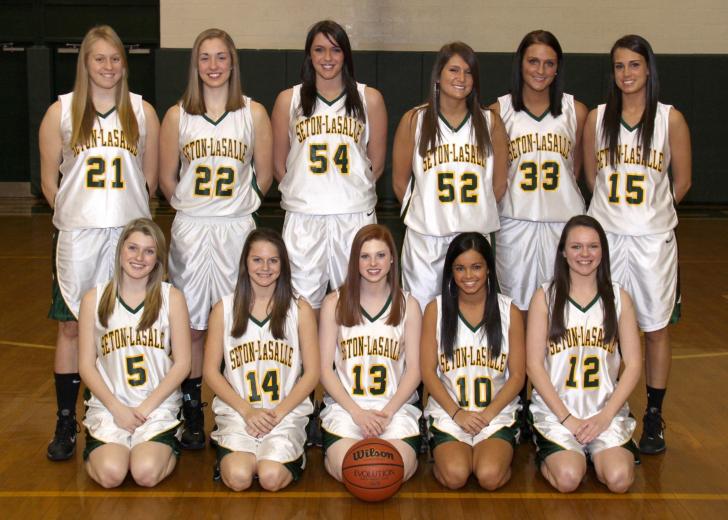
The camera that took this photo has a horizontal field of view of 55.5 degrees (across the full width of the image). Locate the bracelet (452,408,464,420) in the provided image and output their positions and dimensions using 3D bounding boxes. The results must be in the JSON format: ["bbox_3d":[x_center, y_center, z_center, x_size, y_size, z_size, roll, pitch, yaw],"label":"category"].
[{"bbox_3d":[0.518,0.852,3.826,0.016,0.064,0.046,41,2,-18],"label":"bracelet"}]

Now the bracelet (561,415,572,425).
[{"bbox_3d":[1.099,0.880,3.790,0.058,0.014,0.033,-46,23,-8],"label":"bracelet"}]

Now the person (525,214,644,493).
[{"bbox_3d":[1.209,0.498,3.779,0.628,1.321,0.783,4,19,10],"label":"person"}]

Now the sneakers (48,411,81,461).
[{"bbox_3d":[-1.721,1.005,3.945,0.153,0.222,0.219,-4,19,-14],"label":"sneakers"}]

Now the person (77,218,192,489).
[{"bbox_3d":[-1.257,0.494,3.780,0.609,1.294,0.743,-5,19,-15],"label":"person"}]

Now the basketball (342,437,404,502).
[{"bbox_3d":[0.046,1.095,3.602,0.323,0.318,0.309,11,-28,-26],"label":"basketball"}]

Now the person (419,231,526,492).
[{"bbox_3d":[0.605,0.551,3.789,0.598,1.254,0.707,2,18,5],"label":"person"}]

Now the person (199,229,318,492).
[{"bbox_3d":[-0.581,0.530,3.782,0.644,1.236,0.746,1,18,2],"label":"person"}]
